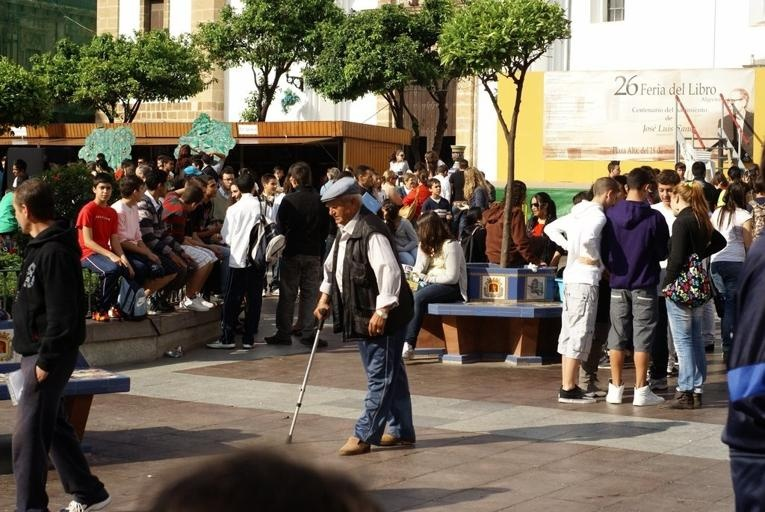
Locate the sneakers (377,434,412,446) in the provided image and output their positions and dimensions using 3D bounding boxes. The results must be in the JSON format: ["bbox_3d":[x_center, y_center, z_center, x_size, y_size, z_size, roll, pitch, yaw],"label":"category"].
[{"bbox_3d":[0.120,1.756,8.796,0.329,0.136,0.117,9,-3,-4],"label":"sneakers"}]

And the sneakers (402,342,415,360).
[{"bbox_3d":[0.358,1.272,12.202,0.179,0.233,0.487,1,-6,6],"label":"sneakers"}]

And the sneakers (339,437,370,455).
[{"bbox_3d":[-0.251,1.775,8.516,0.284,0.110,0.140,12,-16,-44],"label":"sneakers"}]

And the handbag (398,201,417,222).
[{"bbox_3d":[0.493,-0.827,17.044,0.211,0.419,0.369,5,27,-29],"label":"handbag"}]

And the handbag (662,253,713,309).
[{"bbox_3d":[3.351,0.255,10.117,0.539,0.546,0.284,0,20,26],"label":"handbag"}]

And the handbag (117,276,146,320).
[{"bbox_3d":[-3.283,0.549,12.042,0.320,0.567,0.494,11,4,7],"label":"handbag"}]

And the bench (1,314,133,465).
[{"bbox_3d":[-2.944,1.268,8.435,1.178,1.222,1.082,-2,3,-15],"label":"bench"}]

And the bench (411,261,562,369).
[{"bbox_3d":[1.472,0.834,12.613,1.532,0.874,1.550,1,0,17],"label":"bench"}]

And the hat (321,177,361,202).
[{"bbox_3d":[-0.412,-0.630,8.660,0.378,0.236,0.340,1,4,23],"label":"hat"}]
